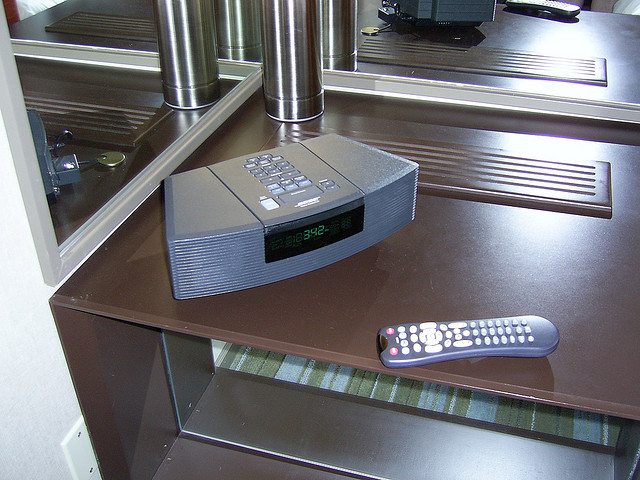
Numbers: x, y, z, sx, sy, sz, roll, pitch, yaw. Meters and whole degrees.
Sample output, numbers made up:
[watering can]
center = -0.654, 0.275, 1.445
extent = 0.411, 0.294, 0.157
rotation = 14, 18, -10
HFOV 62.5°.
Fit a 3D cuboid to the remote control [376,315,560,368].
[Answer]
[remote control]
center = 0.209, 0.144, 0.751
extent = 0.257, 0.044, 0.057
rotation = -2, 28, -4
